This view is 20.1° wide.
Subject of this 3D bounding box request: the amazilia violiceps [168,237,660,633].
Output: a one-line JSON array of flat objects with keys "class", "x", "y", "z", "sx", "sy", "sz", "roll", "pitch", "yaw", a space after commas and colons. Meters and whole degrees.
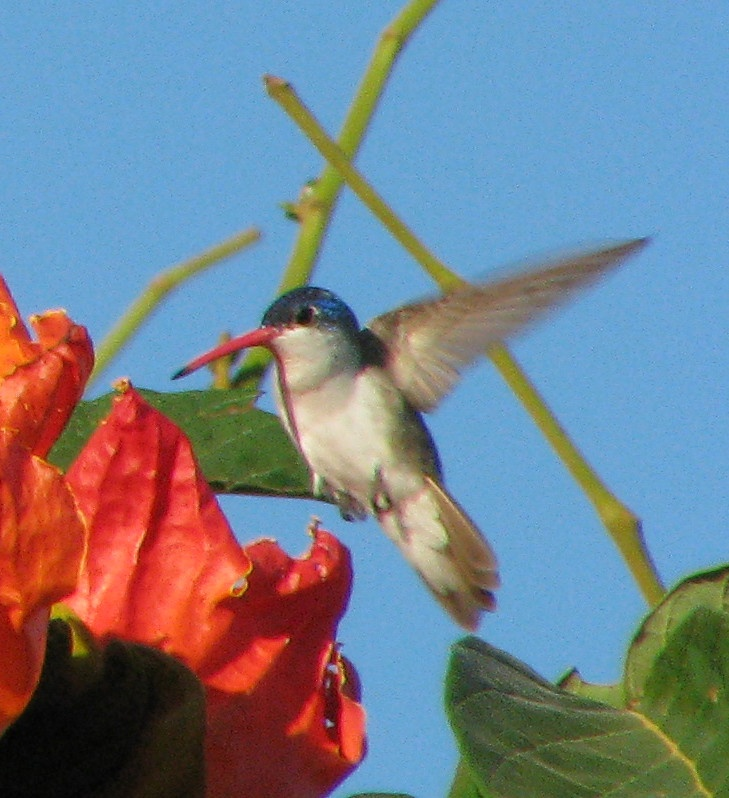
[{"class": "amazilia violiceps", "x": 0.003, "y": 0.001, "z": 0.890, "sx": 0.147, "sy": 0.097, "sz": 0.214, "roll": 13, "pitch": 6, "yaw": 5}]
